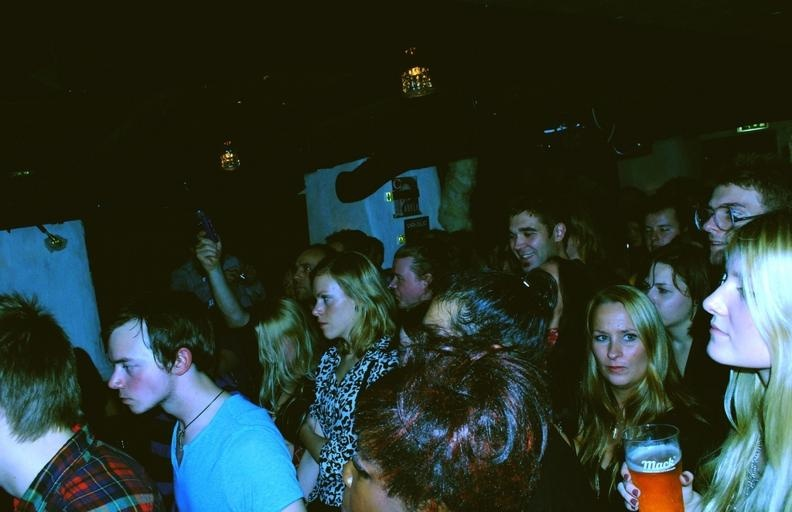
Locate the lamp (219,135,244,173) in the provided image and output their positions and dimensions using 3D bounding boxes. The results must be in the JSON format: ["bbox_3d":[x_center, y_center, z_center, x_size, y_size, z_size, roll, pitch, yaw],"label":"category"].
[{"bbox_3d":[-1.923,-1.081,7.943,0.206,0.272,0.203,5,-19,-20],"label":"lamp"}]

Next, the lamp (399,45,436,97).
[{"bbox_3d":[0.201,-1.980,7.497,0.330,0.536,0.143,-7,0,24],"label":"lamp"}]
